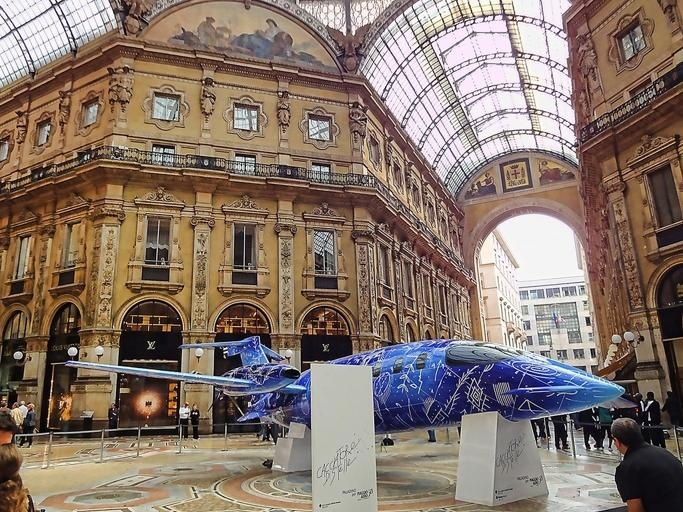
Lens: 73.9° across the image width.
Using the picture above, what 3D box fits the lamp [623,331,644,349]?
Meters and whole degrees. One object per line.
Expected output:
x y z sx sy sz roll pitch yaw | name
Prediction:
13.566 3.757 21.159 0.806 0.794 1.514 -3 -27 31 | lamp

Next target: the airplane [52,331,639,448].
1.191 3.333 11.440 10.075 2.300 3.342 -11 -19 28 | airplane
